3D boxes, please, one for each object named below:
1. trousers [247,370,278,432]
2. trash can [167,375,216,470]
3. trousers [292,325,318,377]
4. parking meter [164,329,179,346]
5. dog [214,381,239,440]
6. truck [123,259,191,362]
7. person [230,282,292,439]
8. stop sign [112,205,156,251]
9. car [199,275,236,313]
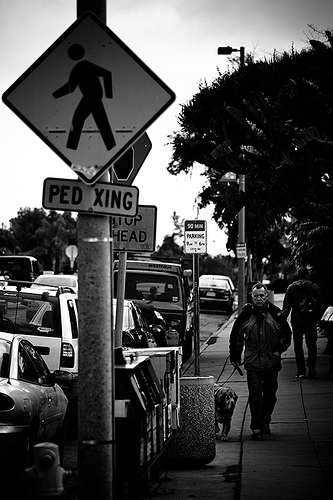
[{"bbox_3d":[1.111,1.803,7.968,0.297,0.716,0.690,1,-3,25],"label":"trousers"},{"bbox_3d":[0.229,1.595,6.069,0.456,0.861,0.298,2,-2,-10],"label":"trash can"},{"bbox_3d":[2.598,1.849,12.590,0.396,0.370,1.508,-4,37,13],"label":"trousers"},{"bbox_3d":[0.089,1.755,13.131,0.295,0.369,0.280,0,8,2],"label":"parking meter"},{"bbox_3d":[0.608,1.915,7.799,0.229,0.569,0.927,8,-11,-10],"label":"dog"},{"bbox_3d":[-0.195,1.142,15.874,1.252,1.636,2.502,1,-1,5],"label":"truck"},{"bbox_3d":[1.134,1.305,8.054,0.708,1.785,0.844,2,-3,11],"label":"person"},{"bbox_3d":[-0.260,-0.201,6.062,0.381,0.398,0.090,-5,-1,-43],"label":"stop sign"},{"bbox_3d":[2.512,2.267,33.605,1.680,1.820,2.868,2,-3,4],"label":"car"}]
